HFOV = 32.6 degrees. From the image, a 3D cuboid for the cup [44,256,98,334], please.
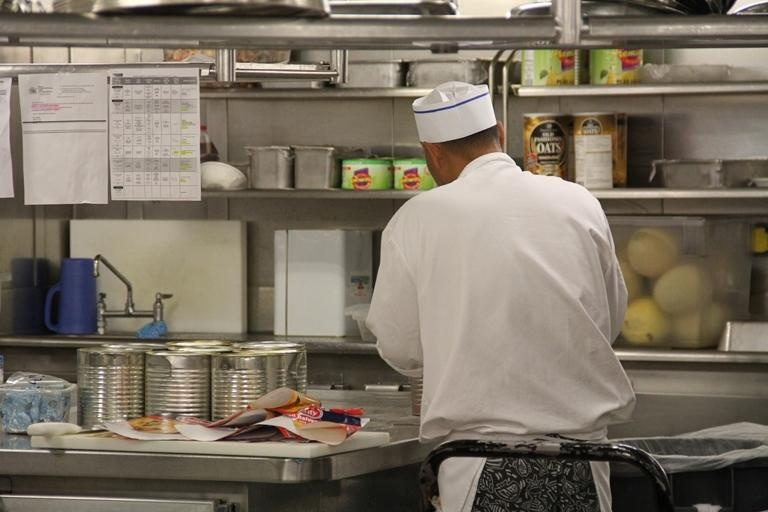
[{"bbox_3d":[-1.476,0.208,6.195,0.187,0.390,0.200,4,-22,2],"label":"cup"}]
